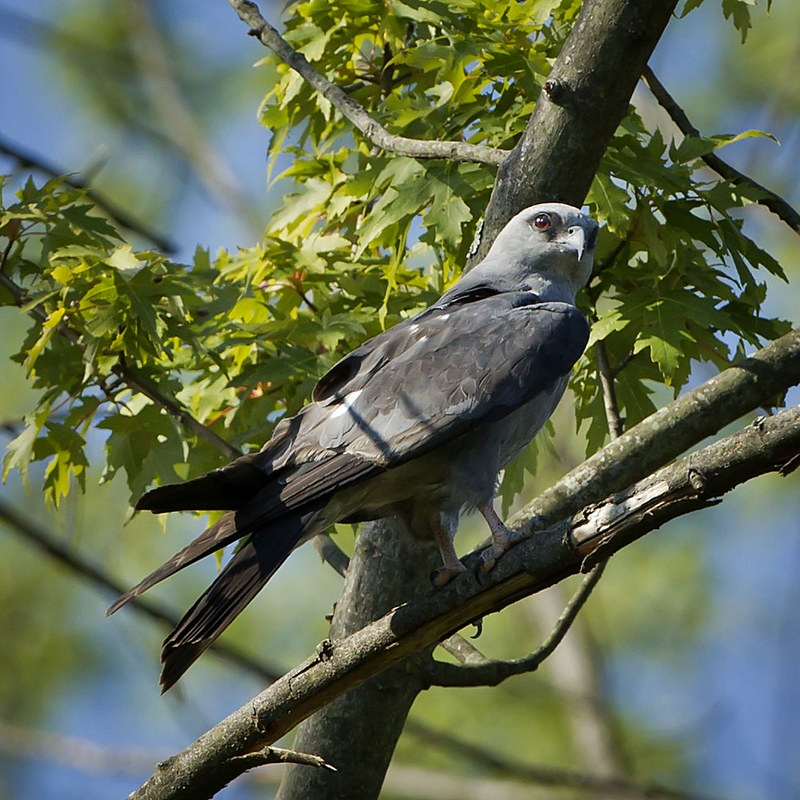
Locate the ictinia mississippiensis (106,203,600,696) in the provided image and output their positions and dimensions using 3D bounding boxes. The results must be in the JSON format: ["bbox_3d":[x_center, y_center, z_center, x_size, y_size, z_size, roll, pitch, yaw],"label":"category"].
[{"bbox_3d":[0.035,0.105,5.339,1.478,1.930,0.750,-20,-64,21],"label":"ictinia mississippiensis"}]
